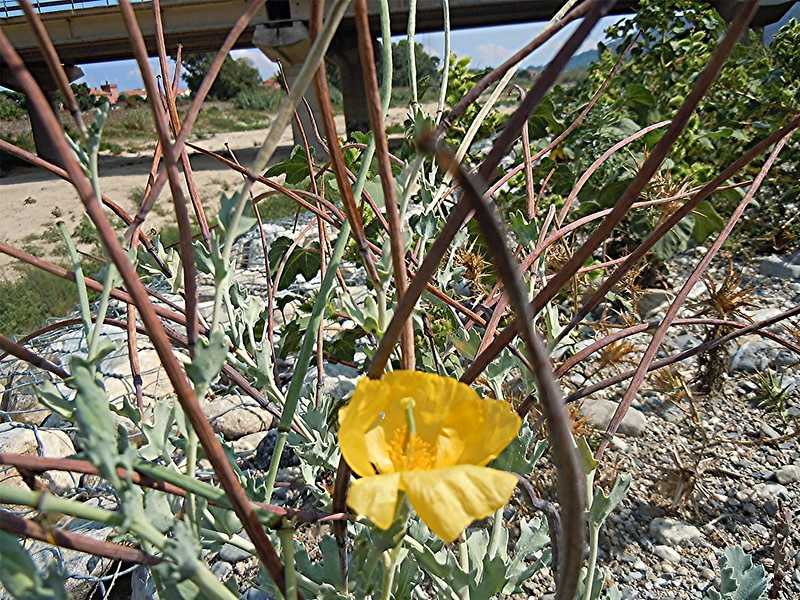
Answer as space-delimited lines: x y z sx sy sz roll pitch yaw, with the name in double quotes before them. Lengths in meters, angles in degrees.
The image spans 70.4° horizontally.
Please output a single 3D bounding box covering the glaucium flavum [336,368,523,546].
"glaucium flavum" 0.030 0.174 0.618 0.194 0.158 0.148 2 35 -3
